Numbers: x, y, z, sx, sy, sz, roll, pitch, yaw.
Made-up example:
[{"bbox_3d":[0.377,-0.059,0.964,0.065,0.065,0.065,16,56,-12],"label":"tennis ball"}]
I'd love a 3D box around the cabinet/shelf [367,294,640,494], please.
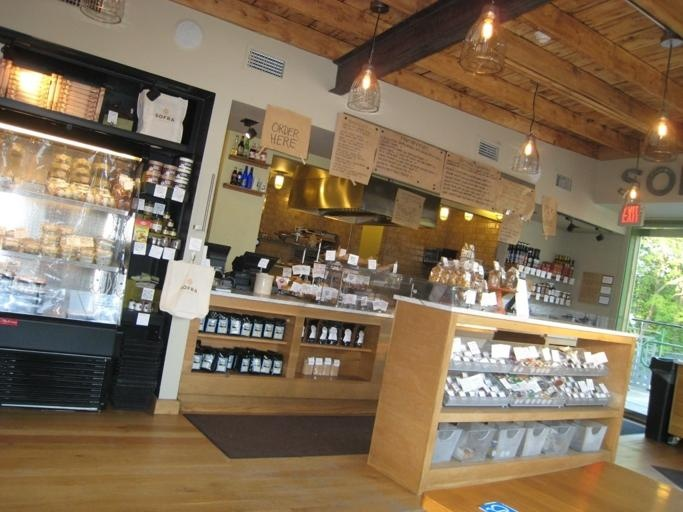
[{"bbox_3d":[1.549,1.291,4.455,2.440,1.368,0.748,10,-3,-28],"label":"cabinet/shelf"}]

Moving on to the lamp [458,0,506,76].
[{"bbox_3d":[0.932,-1.390,3.108,0.262,0.465,0.215,9,2,-24],"label":"lamp"}]

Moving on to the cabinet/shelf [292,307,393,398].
[{"bbox_3d":[-0.108,1.174,5.855,1.257,1.046,0.449,10,3,-24],"label":"cabinet/shelf"}]

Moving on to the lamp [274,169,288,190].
[{"bbox_3d":[-1.117,-1.381,8.896,0.258,0.420,0.260,4,1,43],"label":"lamp"}]

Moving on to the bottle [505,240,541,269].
[{"bbox_3d":[2.989,-0.013,8.053,0.502,0.306,0.084,4,-11,-28],"label":"bottle"}]

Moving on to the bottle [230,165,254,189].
[{"bbox_3d":[-1.479,-1.179,7.261,0.340,0.321,0.455,9,2,-12],"label":"bottle"}]

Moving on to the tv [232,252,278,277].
[{"bbox_3d":[-1.021,0.094,5.694,0.479,0.244,0.447,9,2,-15],"label":"tv"}]

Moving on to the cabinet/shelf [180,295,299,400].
[{"bbox_3d":[-1.094,0.971,5.055,1.123,0.898,0.385,7,-13,-24],"label":"cabinet/shelf"}]

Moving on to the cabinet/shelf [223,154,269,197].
[{"bbox_3d":[-1.433,-1.175,7.088,0.677,0.420,0.212,3,-1,-42],"label":"cabinet/shelf"}]

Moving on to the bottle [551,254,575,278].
[{"bbox_3d":[3.973,0.192,8.731,0.392,0.538,0.283,4,1,-8],"label":"bottle"}]

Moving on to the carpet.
[{"bbox_3d":[-0.476,1.656,4.520,1.743,0.096,1.014,8,3,-28],"label":"carpet"}]
